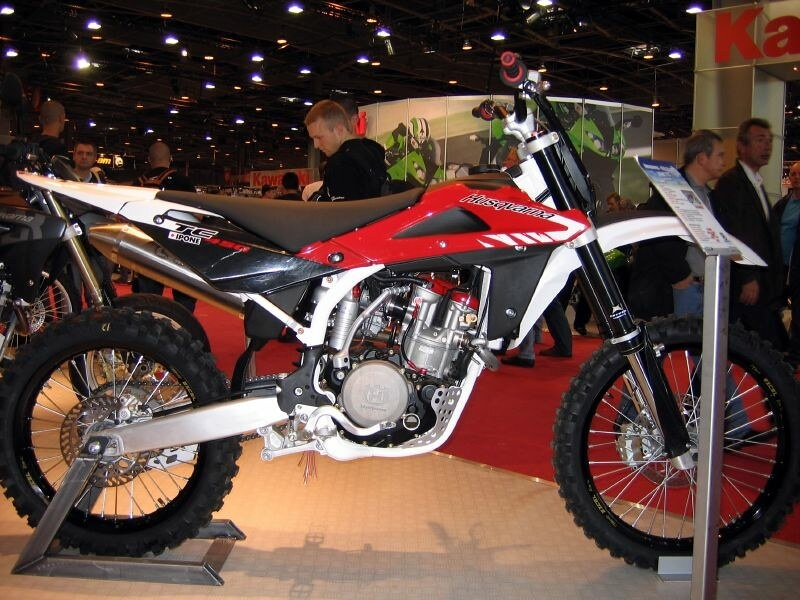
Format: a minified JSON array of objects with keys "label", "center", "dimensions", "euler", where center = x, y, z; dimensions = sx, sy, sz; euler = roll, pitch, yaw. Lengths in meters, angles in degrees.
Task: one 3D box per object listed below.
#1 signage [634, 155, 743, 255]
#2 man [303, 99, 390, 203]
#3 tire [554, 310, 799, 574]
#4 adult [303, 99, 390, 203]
[{"label":"signage","center":[1.001,-0.331,1.982],"dimensions":[0.245,0.357,0.455],"euler":[1,7,-15]},{"label":"man","center":[-0.362,-1.000,3.796],"dimensions":[0.525,0.618,0.776],"euler":[7,35,5]},{"label":"tire","center":[1.112,0.617,2.283],"dimensions":[0.950,0.814,0.173],"euler":[24,0,1]},{"label":"adult","center":[-0.367,-0.994,3.799],"dimensions":[0.528,0.621,0.786],"euler":[5,34,2]}]
